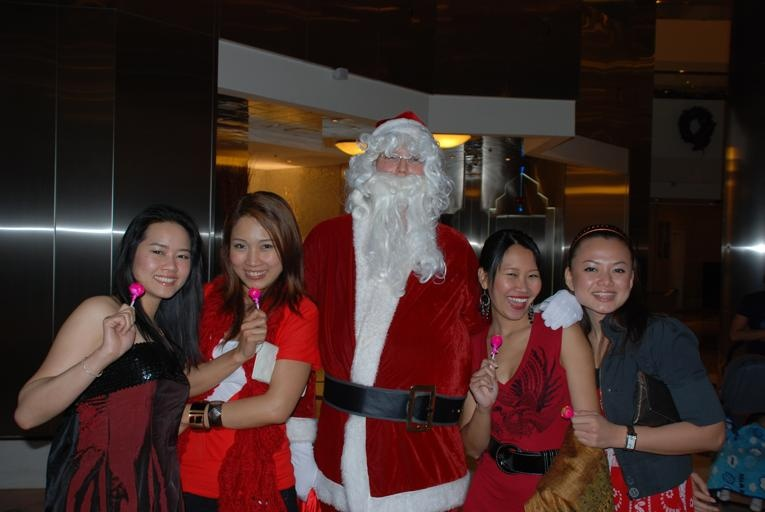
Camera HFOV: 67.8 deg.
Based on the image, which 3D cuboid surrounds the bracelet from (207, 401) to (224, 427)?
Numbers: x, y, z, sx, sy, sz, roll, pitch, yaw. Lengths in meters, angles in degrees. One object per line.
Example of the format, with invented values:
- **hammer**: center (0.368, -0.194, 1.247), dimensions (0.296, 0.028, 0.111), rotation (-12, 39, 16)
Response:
- **bracelet**: center (-0.819, 0.776, 2.785), dimensions (0.076, 0.105, 0.104), rotation (3, -4, -11)

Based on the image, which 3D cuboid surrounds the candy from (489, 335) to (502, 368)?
- **candy**: center (0.609, 0.507, 3.050), dimensions (0.061, 0.177, 0.061), rotation (3, -13, 18)

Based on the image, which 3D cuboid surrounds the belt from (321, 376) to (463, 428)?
- **belt**: center (0.066, 0.777, 3.026), dimensions (0.776, 0.238, 0.194), rotation (2, 2, -3)

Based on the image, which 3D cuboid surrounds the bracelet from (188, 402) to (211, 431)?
- **bracelet**: center (-0.893, 0.775, 2.816), dimensions (0.117, 0.129, 0.128), rotation (0, 6, -5)

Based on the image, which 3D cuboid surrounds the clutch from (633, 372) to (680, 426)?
- **clutch**: center (1.391, 0.724, 2.854), dimensions (0.228, 0.189, 0.094), rotation (14, -18, -36)

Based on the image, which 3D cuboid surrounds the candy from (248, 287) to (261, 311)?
- **candy**: center (-0.661, 0.216, 2.939), dimensions (0.052, 0.117, 0.057), rotation (-23, -7, -24)

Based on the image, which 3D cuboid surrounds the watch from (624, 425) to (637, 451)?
- **watch**: center (1.228, 0.894, 2.802), dimensions (0.063, 0.109, 0.043), rotation (2, 3, 10)
